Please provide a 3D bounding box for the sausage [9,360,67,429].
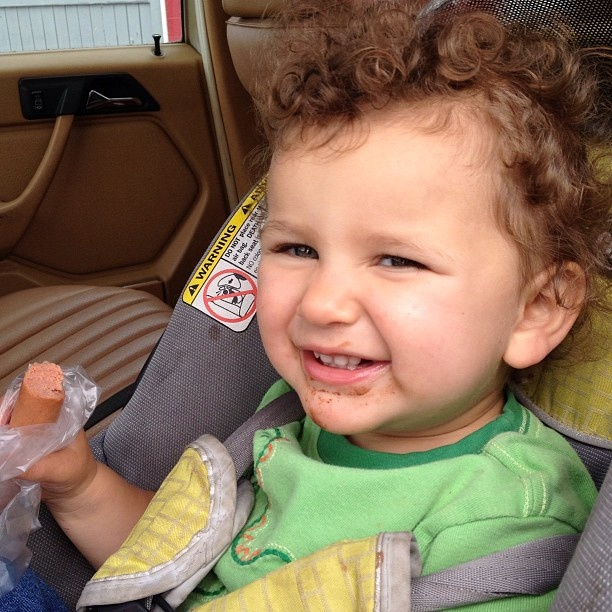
[{"bbox_3d":[-0.376,0.129,0.765,0.070,0.093,0.056,29,24,-3],"label":"sausage"}]
